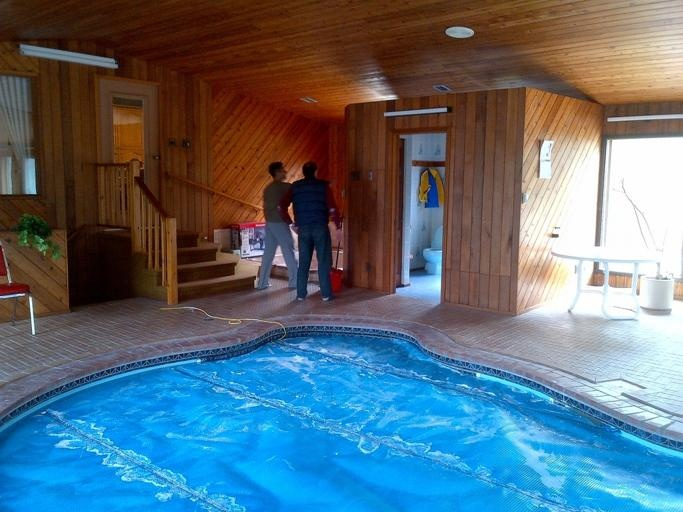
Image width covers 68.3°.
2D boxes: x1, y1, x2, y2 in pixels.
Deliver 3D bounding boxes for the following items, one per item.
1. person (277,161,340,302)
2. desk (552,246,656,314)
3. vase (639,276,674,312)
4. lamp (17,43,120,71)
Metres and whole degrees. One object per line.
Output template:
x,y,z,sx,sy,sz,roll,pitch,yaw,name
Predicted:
-0.426,-0.365,7.827,0.749,2.121,0.412,1,14,0,person
3.755,0.425,7.246,1.547,0.717,1.381,2,9,17,desk
4.679,0.573,7.848,0.629,0.503,0.557,0,3,13,vase
-4.153,-3.117,7.838,1.178,0.307,1.501,-3,11,-18,lamp
